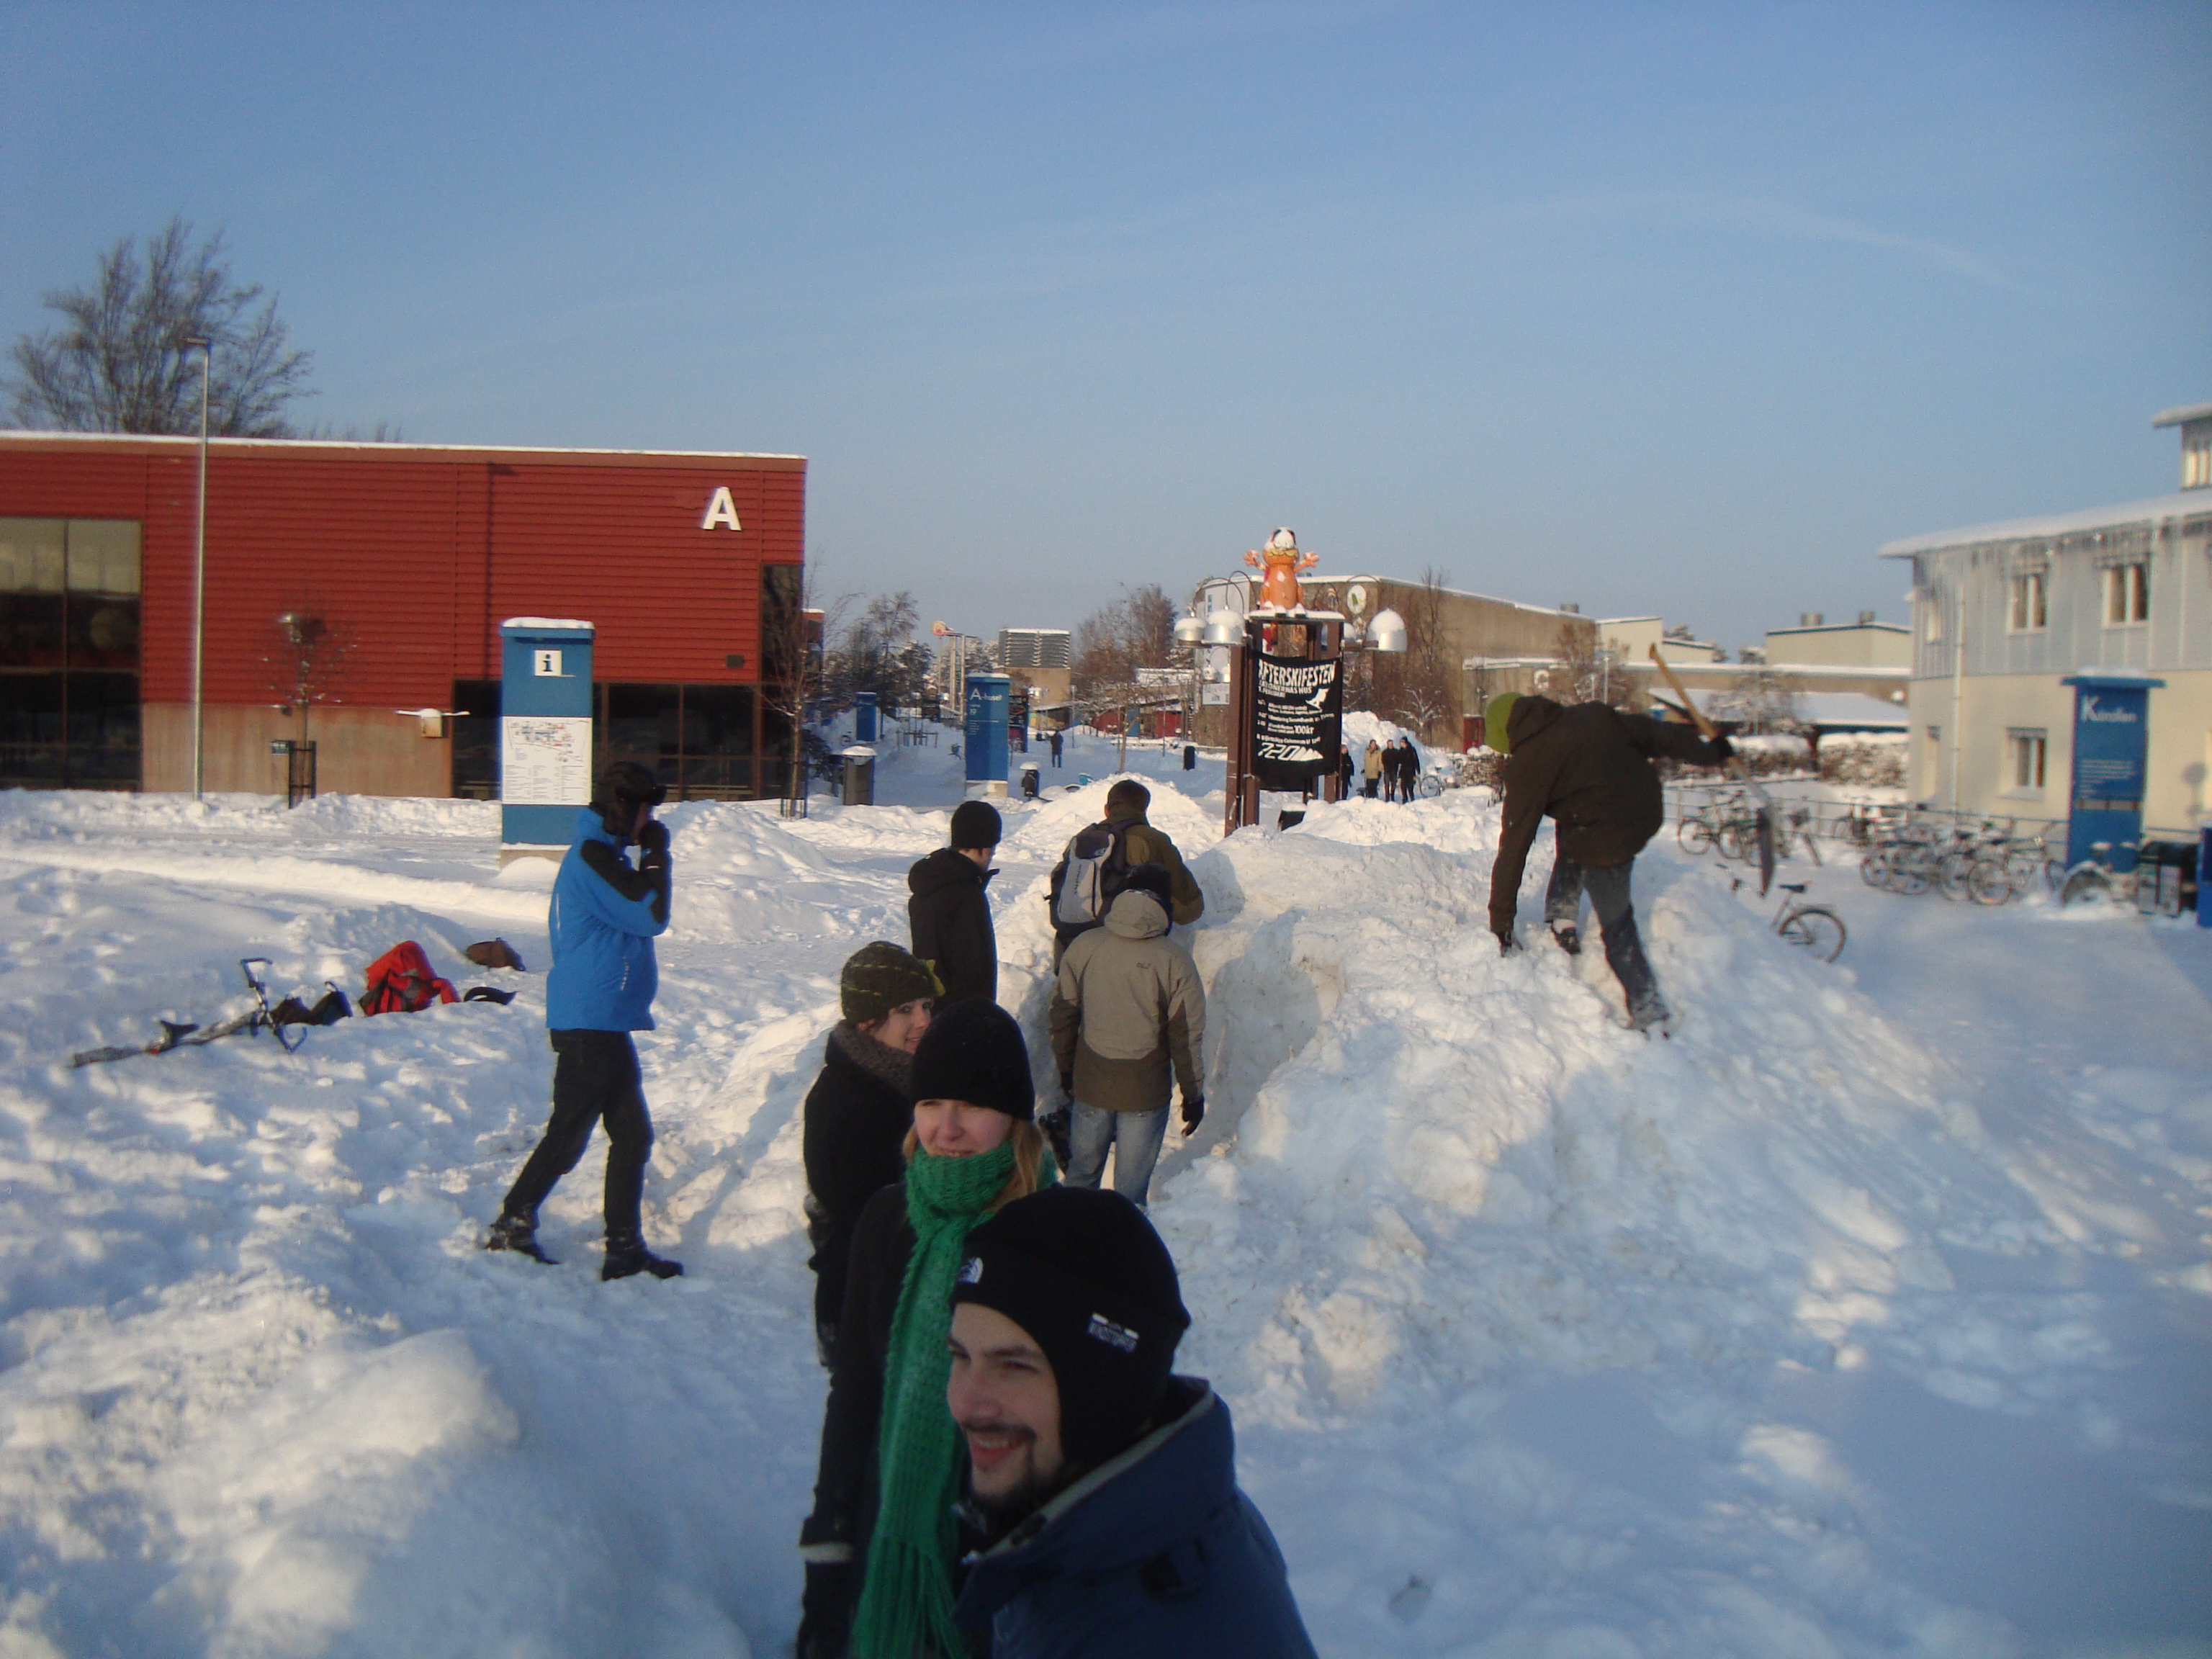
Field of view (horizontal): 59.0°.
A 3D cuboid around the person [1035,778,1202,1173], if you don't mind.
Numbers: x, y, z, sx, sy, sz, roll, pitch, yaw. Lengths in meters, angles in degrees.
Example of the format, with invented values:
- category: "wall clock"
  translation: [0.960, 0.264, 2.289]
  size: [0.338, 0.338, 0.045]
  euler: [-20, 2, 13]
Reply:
- category: "person"
  translation: [0.104, 1.111, 9.459]
  size: [0.747, 2.011, 0.538]
  euler: [10, 24, 12]

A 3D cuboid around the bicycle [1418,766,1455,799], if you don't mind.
- category: "bicycle"
  translation: [6.444, -0.958, 38.434]
  size: [0.658, 0.984, 0.919]
  euler: [4, 6, 3]

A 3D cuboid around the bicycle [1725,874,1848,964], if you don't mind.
- category: "bicycle"
  translation: [5.675, 0.749, 16.308]
  size: [1.154, 0.777, 0.543]
  euler: [-2, 14, 3]

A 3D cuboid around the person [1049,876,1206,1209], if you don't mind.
- category: "person"
  translation: [0.099, 1.001, 9.279]
  size: [0.680, 1.431, 0.316]
  euler: [0, 3, -4]

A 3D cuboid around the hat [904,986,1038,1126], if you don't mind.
- category: "hat"
  translation: [-0.413, 0.740, 6.347]
  size: [0.315, 0.348, 0.362]
  euler: [9, -2, 3]

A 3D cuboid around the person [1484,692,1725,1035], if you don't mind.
- category: "person"
  translation: [2.814, 0.116, 10.909]
  size: [1.209, 2.056, 0.735]
  euler: [-6, 18, 20]

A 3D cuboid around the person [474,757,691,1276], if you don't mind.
- category: "person"
  translation: [-2.413, 0.939, 9.219]
  size: [0.728, 2.493, 0.485]
  euler: [-1, 3, -12]

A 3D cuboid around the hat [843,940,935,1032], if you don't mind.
- category: "hat"
  translation: [-0.804, 0.562, 7.429]
  size: [0.293, 0.307, 0.306]
  euler: [12, 8, 15]

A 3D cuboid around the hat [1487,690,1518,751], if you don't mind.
- category: "hat"
  translation: [2.207, -0.597, 10.778]
  size: [0.089, 0.299, 0.202]
  euler: [9, 14, -9]

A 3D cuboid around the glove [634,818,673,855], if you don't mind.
- category: "glove"
  translation: [-2.152, 0.040, 9.365]
  size: [0.136, 0.182, 0.179]
  euler: [-2, 0, 6]

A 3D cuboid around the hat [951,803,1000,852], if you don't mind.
- category: "hat"
  translation: [-0.654, -0.011, 9.866]
  size: [0.230, 0.243, 0.202]
  euler: [-6, 19, -35]
